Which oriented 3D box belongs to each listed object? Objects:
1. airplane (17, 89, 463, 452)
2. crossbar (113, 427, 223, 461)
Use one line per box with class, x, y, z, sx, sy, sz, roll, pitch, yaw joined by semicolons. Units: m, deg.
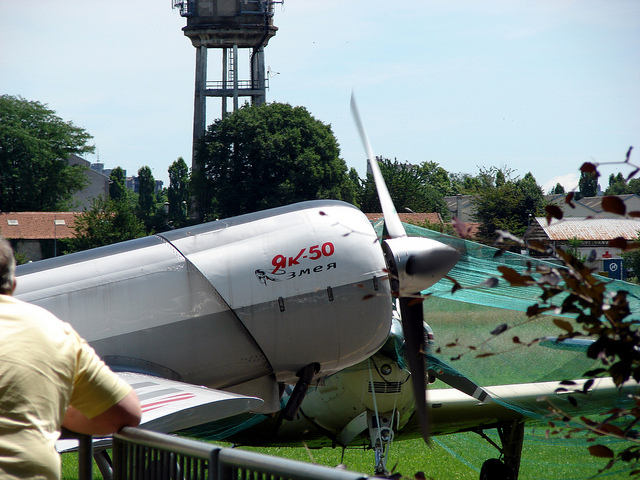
airplane;-0.207;0.276;9.696;4.386;1.567;3.980;-14;18;-14
crossbar;-0.906;1.233;5.799;0.731;0.180;0.115;-3;3;31
